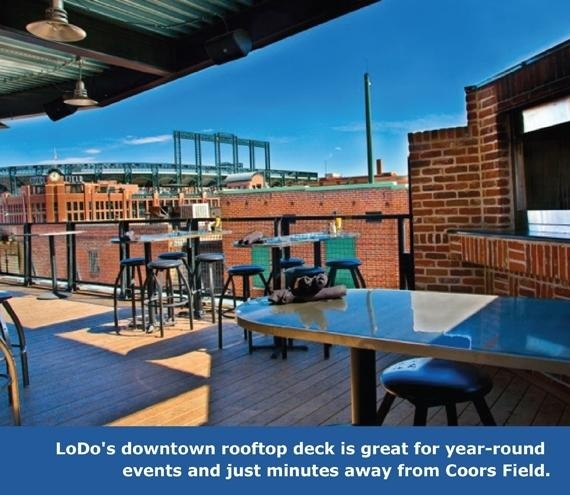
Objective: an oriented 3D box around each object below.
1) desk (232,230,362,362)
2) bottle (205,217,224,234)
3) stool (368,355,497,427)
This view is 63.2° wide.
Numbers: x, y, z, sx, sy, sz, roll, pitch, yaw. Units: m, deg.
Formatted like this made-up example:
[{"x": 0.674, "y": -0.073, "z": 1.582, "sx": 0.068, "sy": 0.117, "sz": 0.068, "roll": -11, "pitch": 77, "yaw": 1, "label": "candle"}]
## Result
[{"x": -0.021, "y": 0.404, "z": 5.019, "sx": 1.273, "sy": 0.986, "sz": 1.895, "roll": -8, "pitch": 0, "yaw": 4, "label": "desk"}, {"x": -0.982, "y": -0.313, "z": 6.482, "sx": 0.276, "sy": 0.207, "sz": 0.173, "roll": 8, "pitch": 17, "yaw": 28, "label": "bottle"}, {"x": 0.604, "y": 0.523, "z": 1.908, "sx": 0.429, "sy": 0.274, "sz": 0.351, "roll": -3, "pitch": -4, "yaw": 4, "label": "stool"}]
